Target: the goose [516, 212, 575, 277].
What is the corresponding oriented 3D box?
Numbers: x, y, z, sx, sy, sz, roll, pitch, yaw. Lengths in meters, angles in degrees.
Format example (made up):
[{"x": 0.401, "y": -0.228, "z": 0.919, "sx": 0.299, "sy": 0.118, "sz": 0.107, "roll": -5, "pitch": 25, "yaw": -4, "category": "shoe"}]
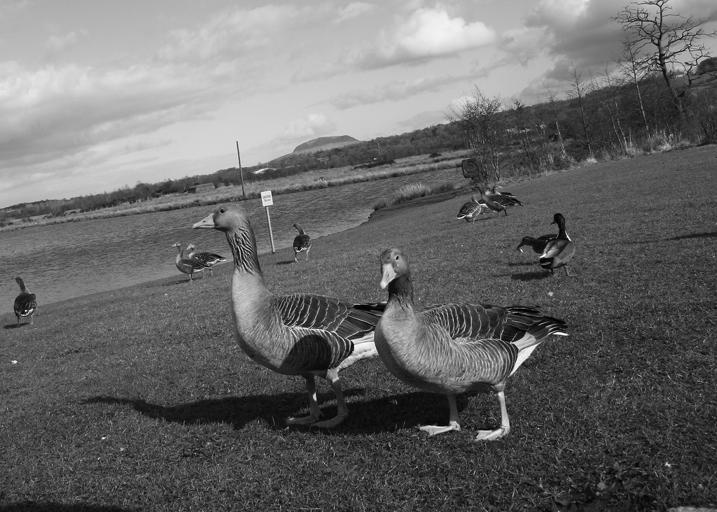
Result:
[{"x": 5.173, "y": -0.341, "z": 14.497, "sx": 0.998, "sy": 1.589, "sz": 2.438, "roll": -3, "pitch": 18, "yaw": 41, "category": "goose"}]
